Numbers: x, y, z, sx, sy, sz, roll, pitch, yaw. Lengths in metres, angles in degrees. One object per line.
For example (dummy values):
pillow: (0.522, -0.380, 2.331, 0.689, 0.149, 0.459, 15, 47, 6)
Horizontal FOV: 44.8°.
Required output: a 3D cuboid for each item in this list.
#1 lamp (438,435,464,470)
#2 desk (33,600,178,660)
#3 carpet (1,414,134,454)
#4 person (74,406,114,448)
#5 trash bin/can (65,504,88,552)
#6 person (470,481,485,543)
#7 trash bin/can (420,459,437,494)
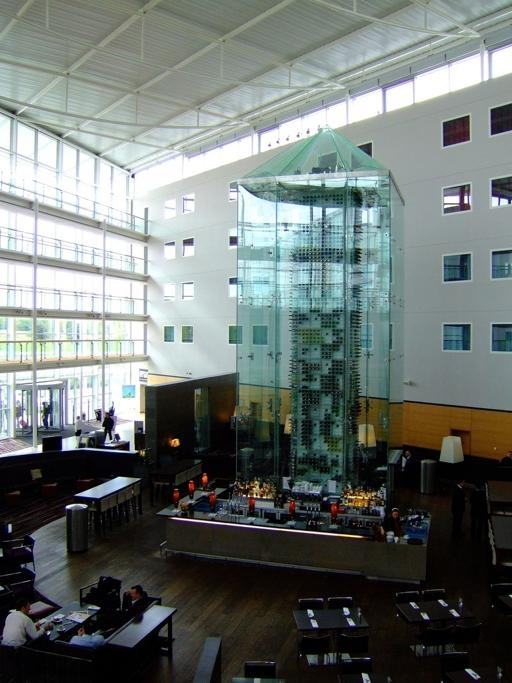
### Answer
lamp: (5.053, 2.767, 15.873, 0.766, 0.910, 0.719, -4, -2, 23)
desk: (-1.606, 3.682, 7.881, 0.707, 0.425, 0.994, 5, 1, 17)
carpet: (-6.529, 3.115, 20.988, 3.669, 1.223, 0.164, -7, 10, -32)
person: (-5.710, 2.988, 21.763, 1.214, 1.359, 1.247, 1, 1, 23)
trash bin/can: (-3.395, 3.546, 11.761, 0.379, 0.818, 0.393, -1, -3, -18)
person: (4.525, 3.453, 12.614, 0.317, 0.949, 0.937, -3, -3, 20)
trash bin/can: (4.333, 3.418, 15.704, 0.356, 0.834, 0.298, -2, -3, 11)
